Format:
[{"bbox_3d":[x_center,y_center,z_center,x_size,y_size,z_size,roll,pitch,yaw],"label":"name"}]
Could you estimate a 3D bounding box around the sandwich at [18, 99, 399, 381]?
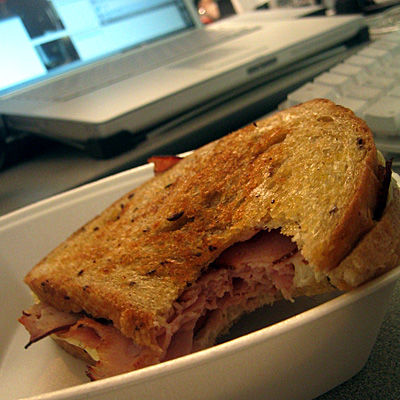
[{"bbox_3d":[0.035,0.145,0.867,0.768,0.174,0.523,-16,32,18],"label":"sandwich"}]
